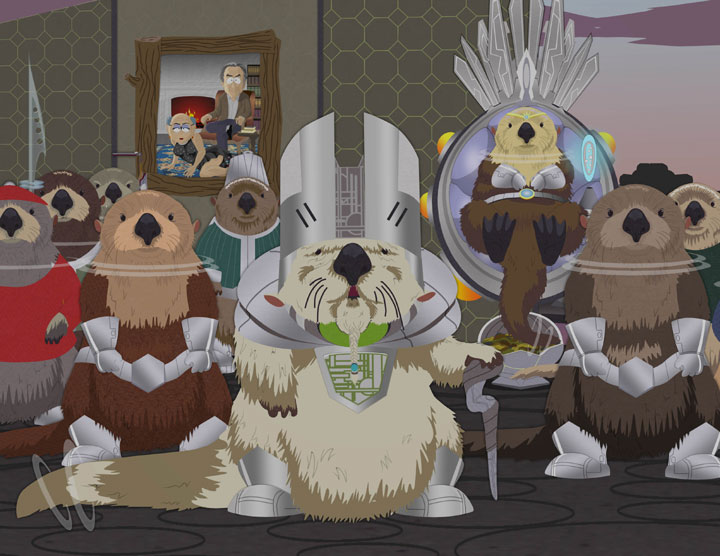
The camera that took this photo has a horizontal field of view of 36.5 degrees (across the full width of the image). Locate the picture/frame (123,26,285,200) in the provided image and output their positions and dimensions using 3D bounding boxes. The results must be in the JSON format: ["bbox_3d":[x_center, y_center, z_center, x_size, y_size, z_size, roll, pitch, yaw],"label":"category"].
[{"bbox_3d":[-0.914,-1.003,6.586,1.277,1.408,0.113,0,0,1],"label":"picture/frame"}]
